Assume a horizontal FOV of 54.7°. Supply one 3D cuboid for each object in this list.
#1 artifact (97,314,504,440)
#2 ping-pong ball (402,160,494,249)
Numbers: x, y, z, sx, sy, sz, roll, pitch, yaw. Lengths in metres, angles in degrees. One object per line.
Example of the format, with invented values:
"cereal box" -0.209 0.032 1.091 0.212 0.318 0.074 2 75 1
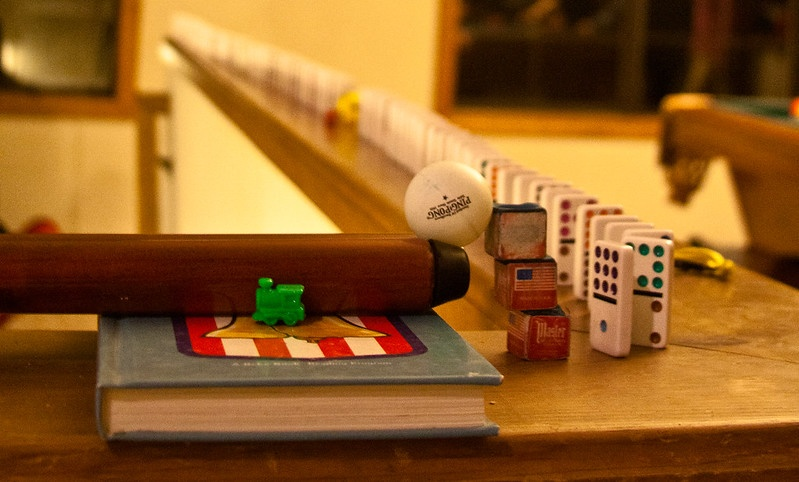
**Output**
"artifact" -0.145 0.180 1.064 0.547 0.147 0.188 -4 14 -3
"ping-pong ball" 0.091 -0.052 1.247 0.158 0.132 0.128 4 -15 9
